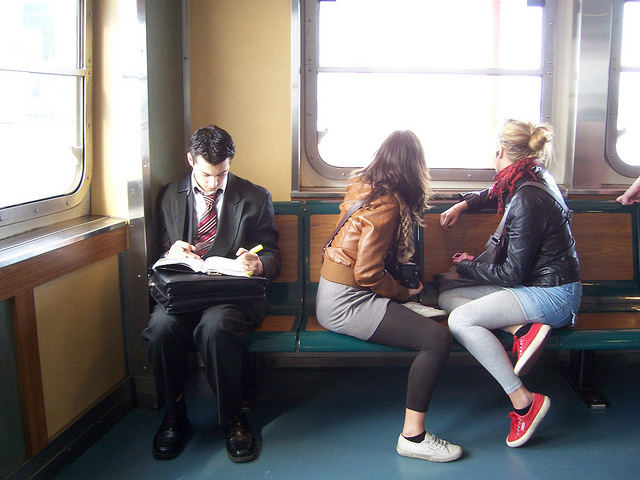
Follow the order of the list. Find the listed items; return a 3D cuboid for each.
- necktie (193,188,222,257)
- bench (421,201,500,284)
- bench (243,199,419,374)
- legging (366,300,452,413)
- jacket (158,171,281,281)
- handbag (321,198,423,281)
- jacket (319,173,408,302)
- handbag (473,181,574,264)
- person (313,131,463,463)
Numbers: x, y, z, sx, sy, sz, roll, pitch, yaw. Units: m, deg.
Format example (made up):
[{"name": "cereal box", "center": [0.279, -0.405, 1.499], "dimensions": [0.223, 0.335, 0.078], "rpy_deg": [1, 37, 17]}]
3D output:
[{"name": "necktie", "center": [-0.681, -0.106, 3.025], "dimensions": [0.144, 0.387, 0.134], "rpy_deg": [3, 15, -4]}, {"name": "bench", "center": [0.908, 0.027, 3.301], "dimensions": [0.519, 0.483, 0.278], "rpy_deg": [0, 11, 1]}, {"name": "bench", "center": [0.049, 0.225, 2.991], "dimensions": [1.044, 0.983, 0.735], "rpy_deg": [1, 18, -5]}, {"name": "legging", "center": [0.468, 0.630, 2.947], "dimensions": [0.498, 0.637, 0.472], "rpy_deg": [-2, 7, -9]}, {"name": "jacket", "center": [-0.617, -0.082, 3.027], "dimensions": [0.737, 0.590, 0.379], "rpy_deg": [-2, 17, -5]}, {"name": "handbag", "center": [0.334, -0.082, 3.171], "dimensions": [0.409, 0.613, 0.645], "rpy_deg": [2, 28, 4]}, {"name": "jacket", "center": [0.263, 0.012, 2.843], "dimensions": [0.348, 0.553, 0.571], "rpy_deg": [27, 7, -36]}, {"name": "handbag", "center": [1.170, -0.205, 3.070], "dimensions": [0.597, 0.603, 0.374], "rpy_deg": [3, 46, 13]}, {"name": "person", "center": [0.387, 0.268, 2.849], "dimensions": [0.888, 1.700, 0.615], "rpy_deg": [9, 19, 27]}]
